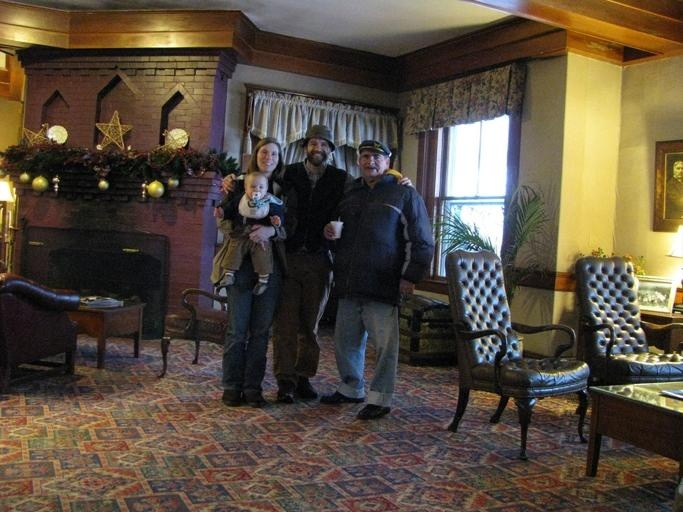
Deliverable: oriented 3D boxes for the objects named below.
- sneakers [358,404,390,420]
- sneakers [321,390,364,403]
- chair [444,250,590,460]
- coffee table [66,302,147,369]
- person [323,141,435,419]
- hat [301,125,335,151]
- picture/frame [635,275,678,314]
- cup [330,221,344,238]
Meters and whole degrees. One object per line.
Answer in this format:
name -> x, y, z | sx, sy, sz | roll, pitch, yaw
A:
sneakers -> 0.227, 1.095, 3.622 | 0.263, 0.090, 0.092 | 3, -1, -33
sneakers -> -0.007, 1.078, 3.900 | 0.346, 0.126, 0.119 | 4, -2, -13
chair -> 1.191, 0.616, 3.534 | 0.817, 1.114, 0.883 | 2, 1, -37
coffee table -> -2.141, 0.647, 4.701 | 0.721, 0.479, 0.558 | -1, -1, 44
person -> 0.270, 0.171, 3.659 | 0.735, 1.553, 0.339 | 5, 2, 18
hat -> -0.162, -0.892, 3.751 | 0.207, 0.101, 0.205 | 3, -8, -1
picture/frame -> 3.026, 0.379, 4.911 | 0.397, 0.348, 0.038 | 0, -10, 33
cup -> -0.029, -0.183, 3.511 | 0.115, 0.099, 0.106 | 1, -4, 0
